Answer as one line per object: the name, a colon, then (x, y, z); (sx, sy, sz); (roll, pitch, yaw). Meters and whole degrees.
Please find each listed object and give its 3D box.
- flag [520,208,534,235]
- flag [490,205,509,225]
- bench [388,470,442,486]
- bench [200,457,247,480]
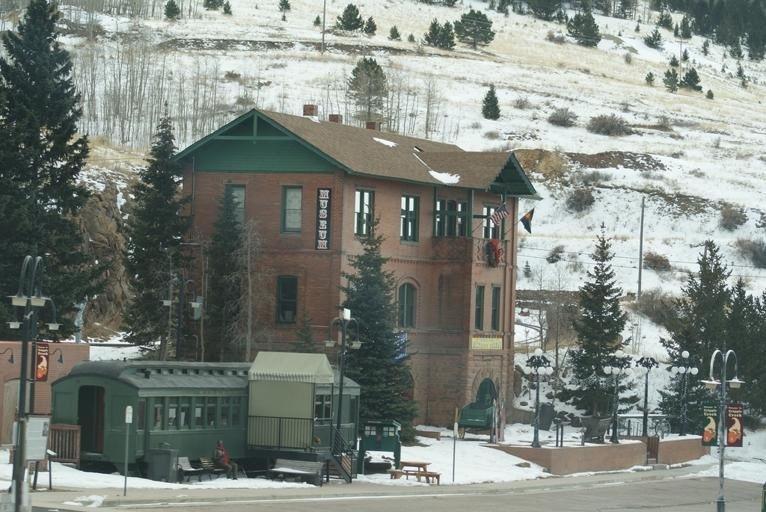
flag: (15.204, -3.781, 203.300); (0.413, 1.664, 3.800); (-33, -28, -24)
flag: (10.813, -4.050, 180.363); (1.607, 2.341, 0.243); (6, -4, -8)
bench: (2.887, 18.791, 166.666); (4.077, 1.270, 1.738); (-2, -5, 10)
bench: (-13.778, 17.590, 162.381); (2.979, 1.787, 1.463); (1, -5, -22)
